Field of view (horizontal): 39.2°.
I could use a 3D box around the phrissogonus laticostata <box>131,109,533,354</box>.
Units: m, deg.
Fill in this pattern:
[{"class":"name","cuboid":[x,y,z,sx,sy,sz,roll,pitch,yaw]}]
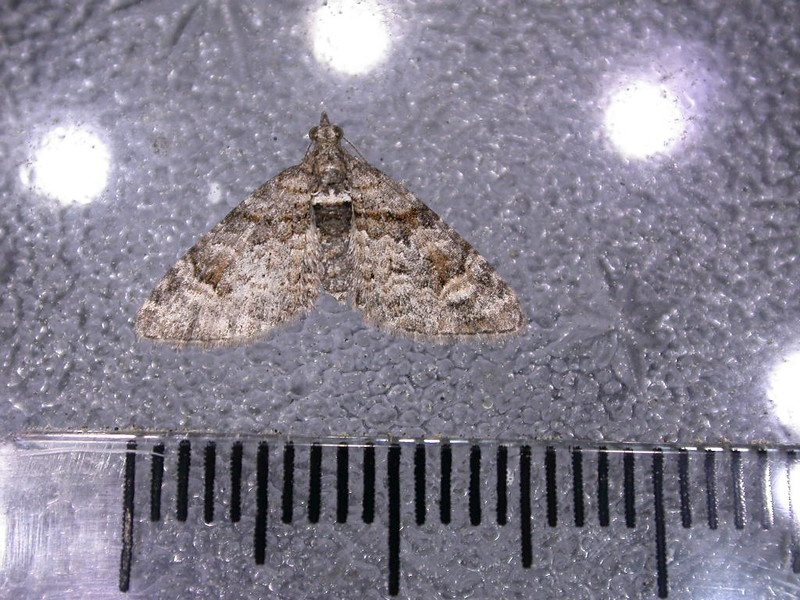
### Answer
[{"class":"phrissogonus laticostata","cuboid":[-0.279,-0.218,4.218,0.987,0.755,0.117,2,-8,1]}]
